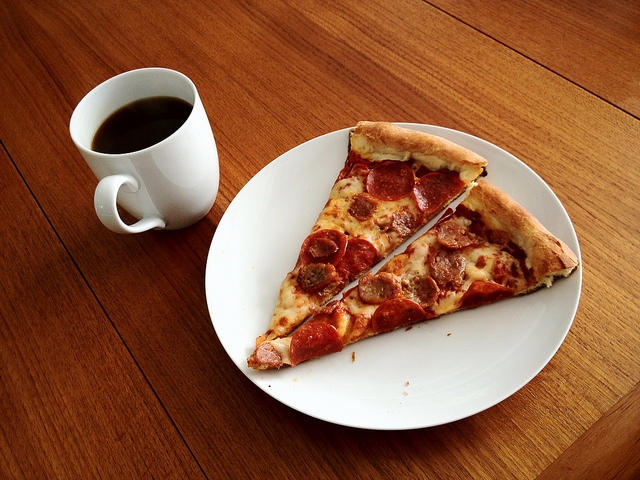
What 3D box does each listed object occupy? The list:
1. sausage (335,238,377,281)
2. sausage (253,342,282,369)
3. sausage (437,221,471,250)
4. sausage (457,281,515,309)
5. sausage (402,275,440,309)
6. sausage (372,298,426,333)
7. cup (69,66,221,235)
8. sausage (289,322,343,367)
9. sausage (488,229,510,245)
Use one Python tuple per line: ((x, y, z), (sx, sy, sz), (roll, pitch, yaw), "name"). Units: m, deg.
((0.110, 0.066, 1.635), (0.096, 0.022, 0.138), (24, 71, 12), "sausage")
((-0.134, 0.305, 1.416), (0.073, 0.031, 0.062), (37, 74, 16), "sausage")
((0.403, -0.026, 1.636), (0.095, 0.117, 0.017), (-17, 100, 31), "sausage")
((0.445, 0.144, 1.477), (0.125, 0.031, 0.071), (-3, 63, 20), "sausage")
((0.280, 0.146, 1.546), (0.108, 0.026, 0.121), (5, 50, 20), "sausage")
((0.238, 0.198, 1.535), (0.099, 0.188, 0.020), (39, 105, 22), "sausage")
((-0.438, -0.246, 1.620), (0.340, 0.389, 0.530), (4, 56, 5), "cup")
((-0.018, 0.268, 1.461), (0.146, 0.053, 0.099), (-18, 68, -4), "sausage")
((0.522, -0.005, 1.592), (0.064, 0.009, 0.039), (16, 105, 35), "sausage")
